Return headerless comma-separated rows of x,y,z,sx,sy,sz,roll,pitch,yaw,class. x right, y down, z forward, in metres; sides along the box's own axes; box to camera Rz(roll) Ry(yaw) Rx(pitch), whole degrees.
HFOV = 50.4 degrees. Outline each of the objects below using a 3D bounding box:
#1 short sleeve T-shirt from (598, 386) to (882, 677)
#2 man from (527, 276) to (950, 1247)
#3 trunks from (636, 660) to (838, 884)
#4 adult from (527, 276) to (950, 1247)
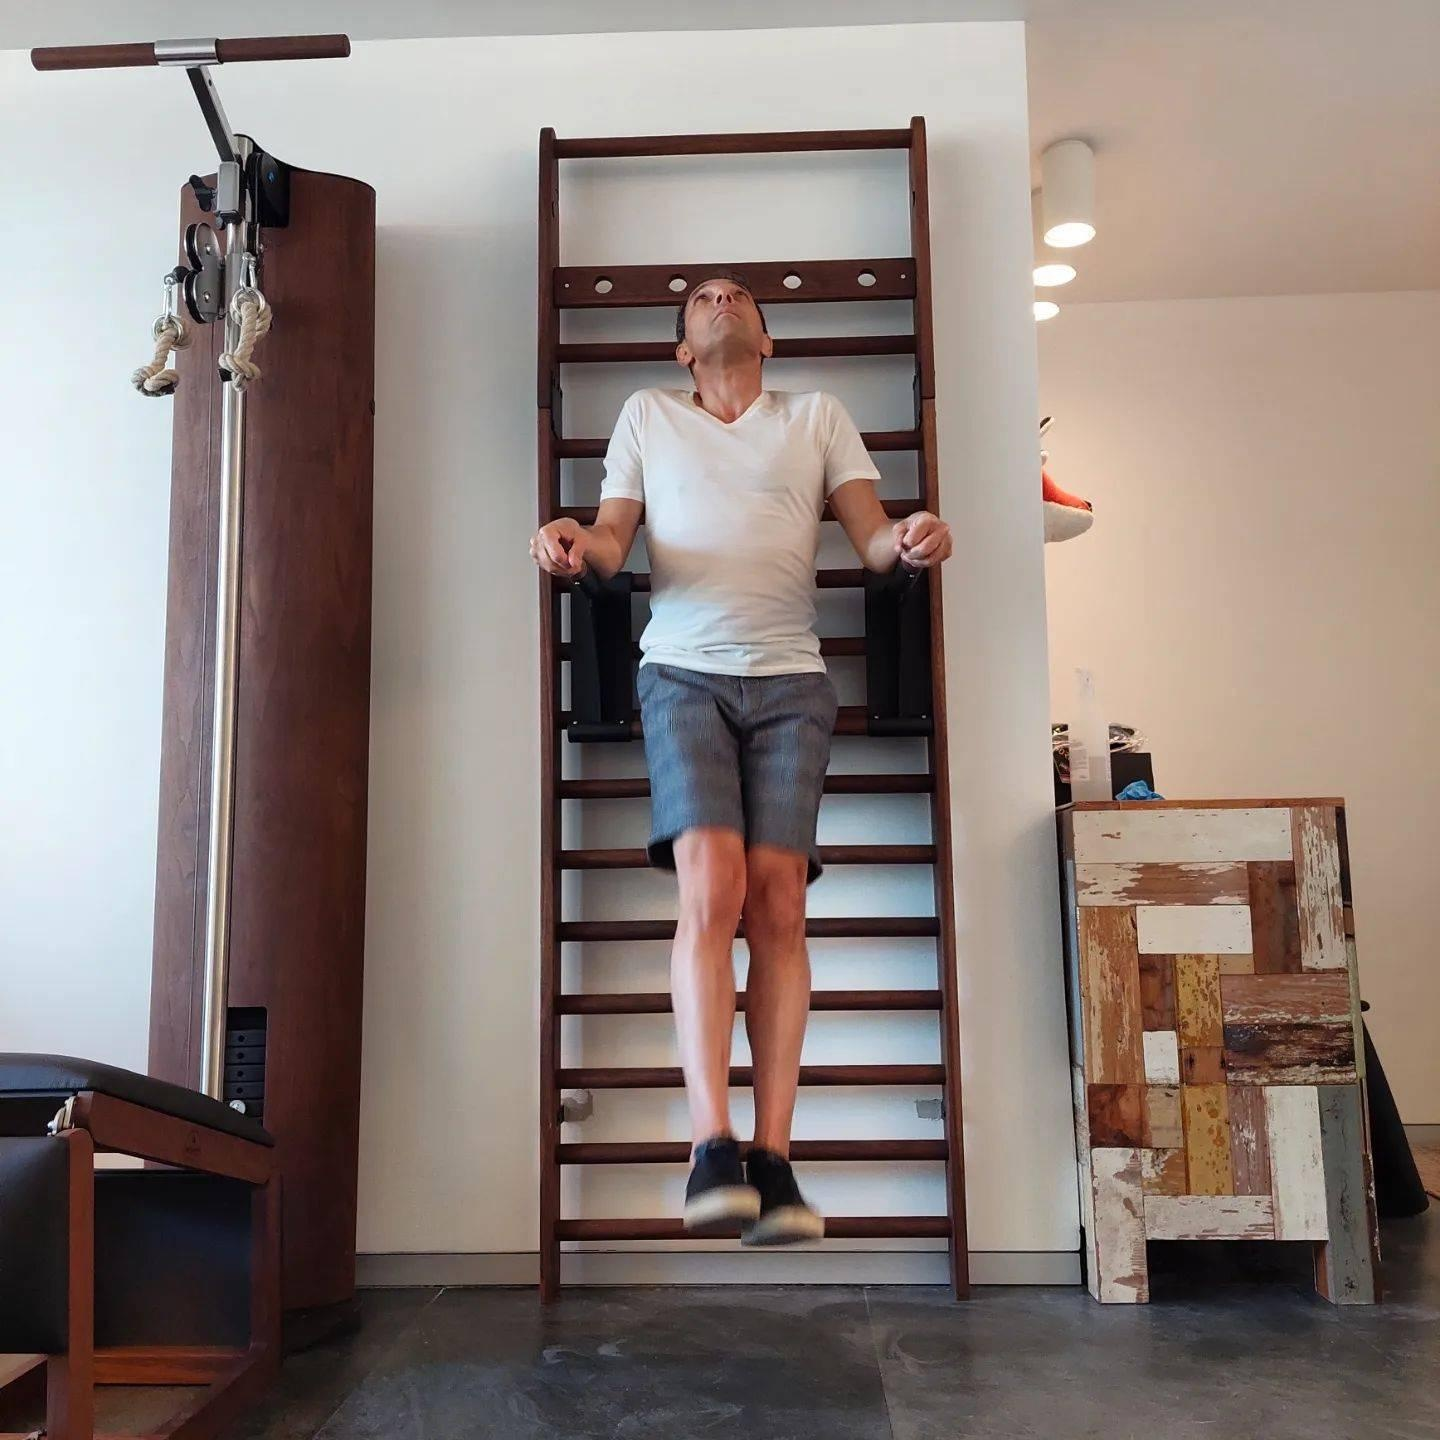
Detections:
0.038,-0.298,2.557,0.446,0.633,0.222,2,-20,-2,short sleeve T-shirt
-0.001,-0.060,2.347,0.548,1.620,0.488,1,-21,-6,man
0.028,0.128,2.395,0.298,0.393,0.228,4,-42,-4,trunks
-0.007,-0.064,2.341,0.562,1.613,0.498,4,-21,-11,adult
